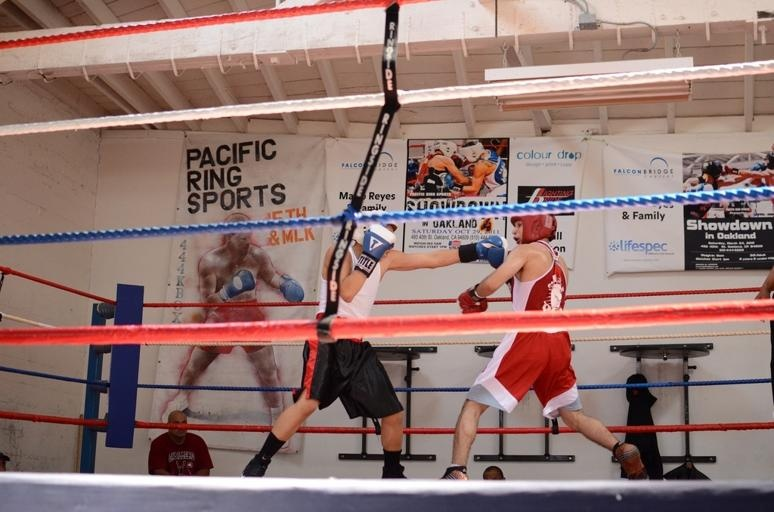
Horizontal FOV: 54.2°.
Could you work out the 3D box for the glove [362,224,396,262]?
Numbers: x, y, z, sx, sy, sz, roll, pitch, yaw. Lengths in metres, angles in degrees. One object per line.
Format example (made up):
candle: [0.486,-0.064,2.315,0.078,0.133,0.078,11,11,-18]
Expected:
glove: [-0.053,-0.076,4.193,0.167,0.211,0.097,33,1,7]

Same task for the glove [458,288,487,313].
glove: [0.509,0.264,4.488,0.172,0.069,0.154,-4,-44,21]

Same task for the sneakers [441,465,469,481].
sneakers: [0.365,1.153,4.020,0.111,0.074,0.180,-1,7,-2]

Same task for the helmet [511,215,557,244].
helmet: [0.899,-0.165,4.605,0.249,0.195,0.176,4,-9,8]

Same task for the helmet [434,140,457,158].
helmet: [0.578,-1.043,7.387,0.217,0.136,0.161,2,-2,11]

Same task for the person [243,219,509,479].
person: [-0.121,0.559,4.342,1.531,1.493,0.531,-7,10,-36]

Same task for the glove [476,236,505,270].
glove: [0.634,-0.043,4.595,0.221,0.165,0.149,3,35,8]
